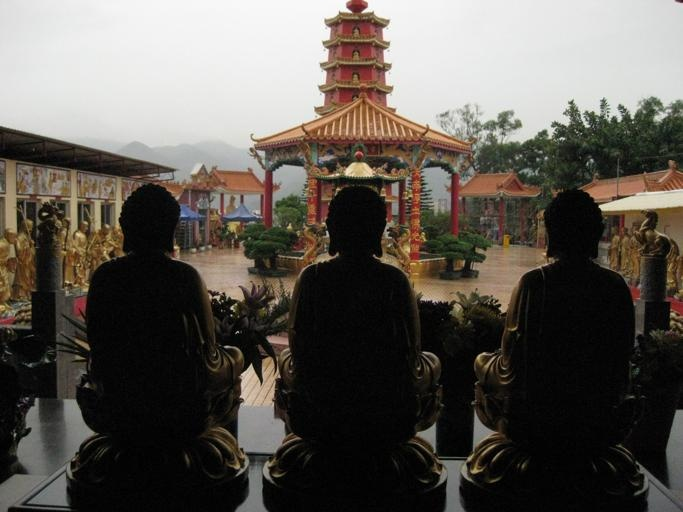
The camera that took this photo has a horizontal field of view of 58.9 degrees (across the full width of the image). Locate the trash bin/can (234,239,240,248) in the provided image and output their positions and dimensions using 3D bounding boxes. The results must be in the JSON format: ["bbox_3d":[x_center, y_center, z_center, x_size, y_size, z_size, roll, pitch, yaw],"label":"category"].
[{"bbox_3d":[-4.673,-0.599,27.120,0.369,0.290,0.381,1,4,-7],"label":"trash bin/can"}]

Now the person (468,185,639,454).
[{"bbox_3d":[1.034,0.287,2.922,0.698,1.213,0.205,2,3,-1],"label":"person"}]

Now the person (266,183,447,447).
[{"bbox_3d":[0.104,0.267,2.965,0.776,1.217,0.270,2,3,9],"label":"person"}]

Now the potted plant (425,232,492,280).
[{"bbox_3d":[2.911,-0.045,14.857,1.164,1.034,1.433,0,3,8],"label":"potted plant"}]

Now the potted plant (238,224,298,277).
[{"bbox_3d":[-1.873,-0.242,15.861,1.322,1.295,1.296,5,10,33],"label":"potted plant"}]

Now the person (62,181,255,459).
[{"bbox_3d":[-0.884,0.262,2.982,0.775,1.237,0.223,2,3,2],"label":"person"}]

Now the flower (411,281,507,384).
[{"bbox_3d":[0.744,0.466,3.813,0.521,0.378,0.543,1,0,8],"label":"flower"}]
